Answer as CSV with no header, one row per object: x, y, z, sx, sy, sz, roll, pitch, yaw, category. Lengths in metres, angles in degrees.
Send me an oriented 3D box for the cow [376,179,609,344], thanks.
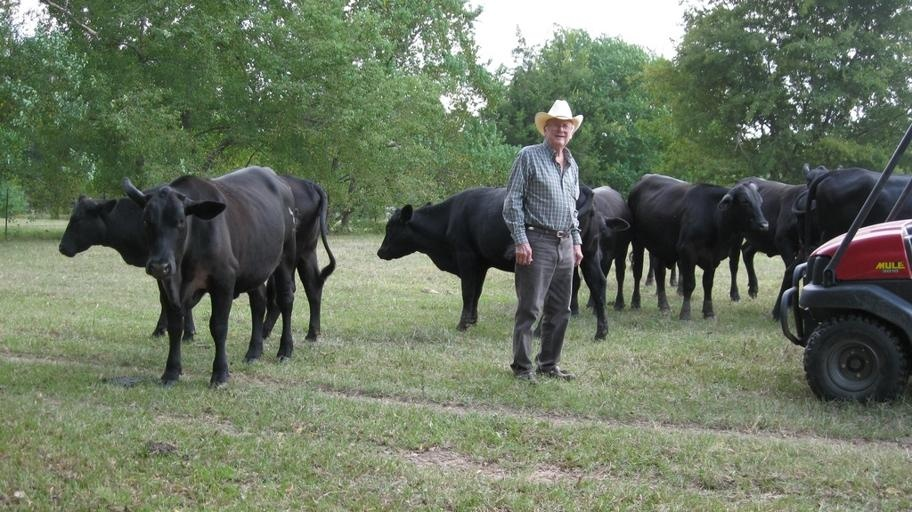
1.111,0.121,32.426,8.879,4.591,2.646,-2,2,27,cow
